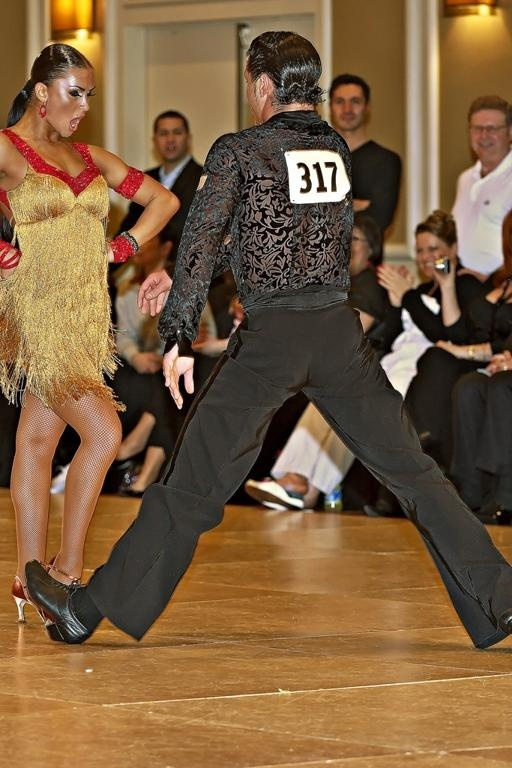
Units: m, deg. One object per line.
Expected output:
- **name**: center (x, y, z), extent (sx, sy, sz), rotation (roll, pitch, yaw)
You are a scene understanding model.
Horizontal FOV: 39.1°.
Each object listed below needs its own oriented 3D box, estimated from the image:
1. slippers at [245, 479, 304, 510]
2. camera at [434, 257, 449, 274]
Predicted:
- **slippers**: center (0.101, 0.635, 4.225), extent (0.414, 0.141, 0.148), rotation (25, -36, -32)
- **camera**: center (1.096, -0.697, 4.236), extent (0.080, 0.085, 0.037), rotation (2, 5, 3)
